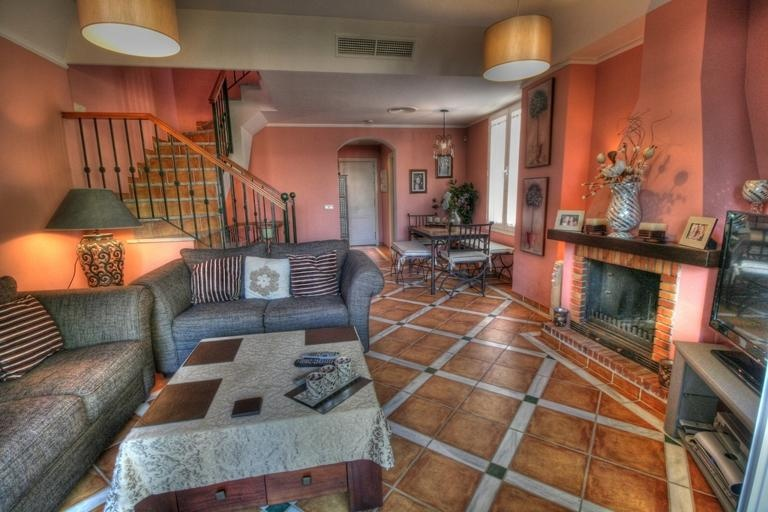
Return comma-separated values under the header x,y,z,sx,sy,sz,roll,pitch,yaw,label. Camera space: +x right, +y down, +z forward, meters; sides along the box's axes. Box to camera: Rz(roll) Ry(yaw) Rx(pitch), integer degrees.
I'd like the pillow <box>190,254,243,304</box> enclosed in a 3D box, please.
x,y,z,sx,sy,sz,roll,pitch,yaw,label
-1.620,0.237,4.414,0.494,0.420,0.138,-3,-4,-17,pillow

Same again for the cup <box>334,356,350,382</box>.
x,y,z,sx,sy,sz,roll,pitch,yaw,label
-0.254,0.802,3.220,0.134,0.139,0.128,1,19,0,cup

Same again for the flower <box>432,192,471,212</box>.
x,y,z,sx,sy,sz,roll,pitch,yaw,label
1.197,-0.963,8.100,0.536,0.233,0.376,0,9,-1,flower

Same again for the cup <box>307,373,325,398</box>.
x,y,z,sx,sy,sz,roll,pitch,yaw,label
-0.422,0.880,3.047,0.108,0.147,0.160,1,-1,1,cup

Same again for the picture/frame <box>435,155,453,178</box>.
x,y,z,sx,sy,sz,roll,pitch,yaw,label
1.089,-1.648,8.279,0.394,0.453,0.051,-1,8,-15,picture/frame

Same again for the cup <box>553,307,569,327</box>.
x,y,z,sx,sy,sz,roll,pitch,yaw,label
1.779,0.627,4.640,0.175,0.169,0.170,0,4,0,cup

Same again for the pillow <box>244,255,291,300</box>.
x,y,z,sx,sy,sz,roll,pitch,yaw,label
-1.157,0.228,4.520,0.483,0.401,0.140,-3,-3,-6,pillow

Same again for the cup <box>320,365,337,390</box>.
x,y,z,sx,sy,sz,roll,pitch,yaw,label
-0.364,0.838,3.138,0.135,0.136,0.150,3,2,22,cup

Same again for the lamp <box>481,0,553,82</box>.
x,y,z,sx,sy,sz,roll,pitch,yaw,label
1.205,-1.757,3.969,0.643,0.651,0.630,-12,17,-38,lamp

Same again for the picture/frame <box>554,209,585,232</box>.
x,y,z,sx,sy,sz,roll,pitch,yaw,label
1.869,-0.347,4.547,0.021,0.215,0.269,15,0,-28,picture/frame

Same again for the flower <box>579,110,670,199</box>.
x,y,z,sx,sy,sz,roll,pitch,yaw,label
2.083,-0.923,4.004,0.361,0.676,0.565,-4,10,-19,flower

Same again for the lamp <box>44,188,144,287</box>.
x,y,z,sx,sy,sz,roll,pitch,yaw,label
-2.715,-0.162,4.174,0.782,0.909,0.578,5,11,26,lamp

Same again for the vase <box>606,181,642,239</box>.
x,y,z,sx,sy,sz,roll,pitch,yaw,label
2.141,-0.413,3.985,0.258,0.500,0.218,-3,11,-15,vase

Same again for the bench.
x,y,z,sx,sy,sz,roll,pitch,yaw,label
0.972,-0.065,6.756,1.662,0.939,1.844,-1,9,-3,bench
